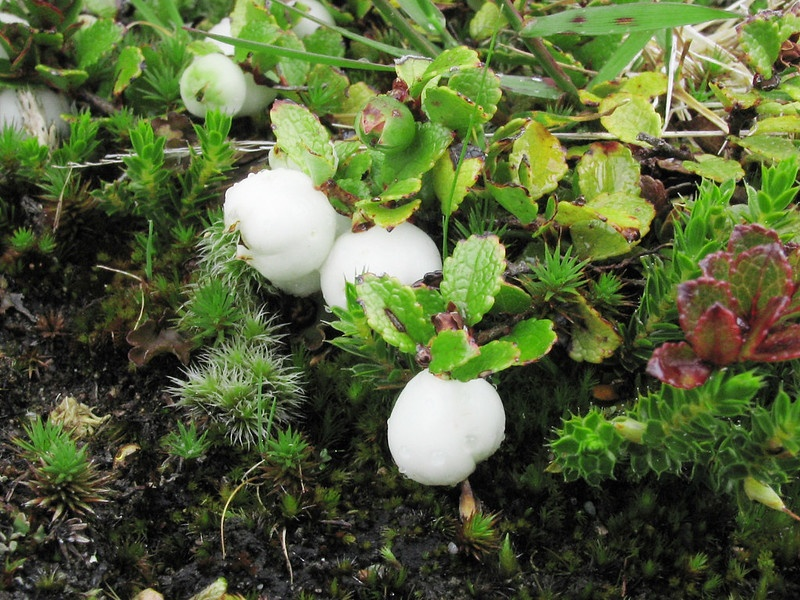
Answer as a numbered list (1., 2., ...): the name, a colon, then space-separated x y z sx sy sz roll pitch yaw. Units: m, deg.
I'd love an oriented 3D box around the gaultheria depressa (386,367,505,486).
1. gaultheria depressa: 0.130 0.370 2.113 0.269 0.249 0.308 -16 73 1
